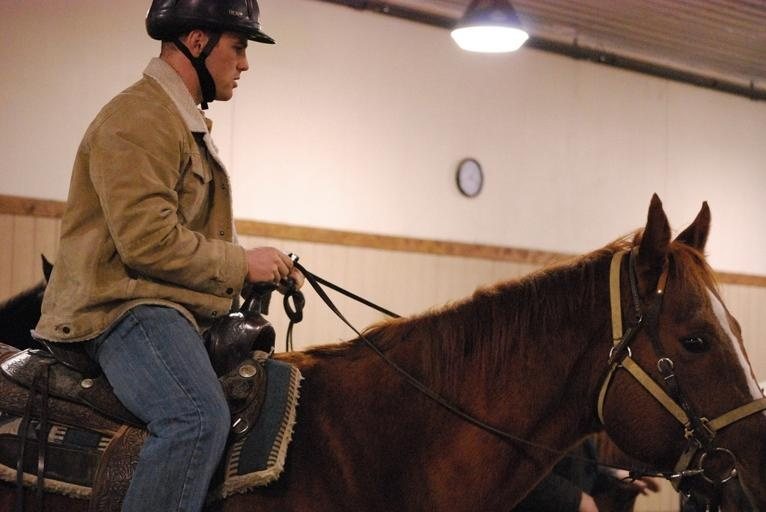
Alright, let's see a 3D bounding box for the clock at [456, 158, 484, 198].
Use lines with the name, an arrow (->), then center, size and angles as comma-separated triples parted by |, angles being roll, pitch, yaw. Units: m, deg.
clock -> 0.716, -0.621, 6.956 | 0.058, 0.298, 0.288 | -17, -11, -42
